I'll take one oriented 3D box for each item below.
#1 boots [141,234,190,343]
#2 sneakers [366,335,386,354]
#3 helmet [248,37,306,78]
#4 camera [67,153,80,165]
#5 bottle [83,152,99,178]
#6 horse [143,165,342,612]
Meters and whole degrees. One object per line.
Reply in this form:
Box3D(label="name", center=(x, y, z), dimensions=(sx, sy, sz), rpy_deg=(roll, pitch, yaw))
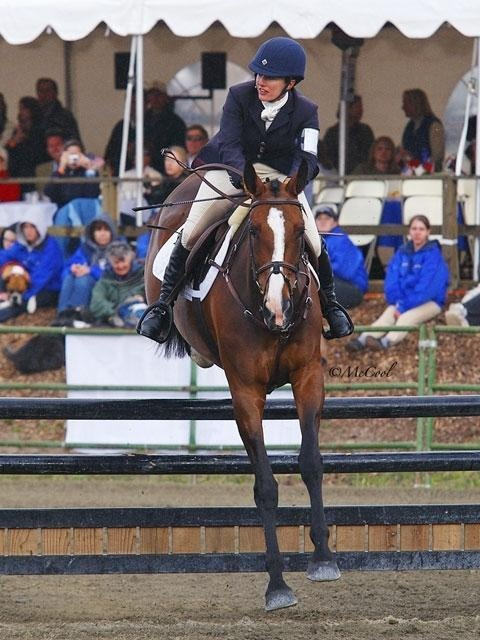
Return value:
Box3D(label="boots", center=(-0.498, -0.120, 12.514), dimensions=(0.217, 0.805, 0.193), rpy_deg=(20, -11, -16))
Box3D(label="sneakers", center=(1.053, 0.195, 15.686), dimensions=(0.067, 0.210, 0.142), rpy_deg=(-13, 21, 26))
Box3D(label="helmet", center=(0.213, -1.540, 11.931), dimensions=(0.215, 0.175, 0.278), rpy_deg=(19, 15, 36))
Box3D(label="camera", center=(-1.423, -1.318, 16.391), dimensions=(0.055, 0.065, 0.084), rpy_deg=(13, -40, -11))
Box3D(label="bottle", center=(-1.275, -1.272, 16.459), dimensions=(0.070, 0.199, 0.084), rpy_deg=(-1, -15, -16))
Box3D(label="horse", center=(0.110, 0.325, 11.867), dimensions=(0.642, 2.492, 1.449), rpy_deg=(-2, 6, -15))
